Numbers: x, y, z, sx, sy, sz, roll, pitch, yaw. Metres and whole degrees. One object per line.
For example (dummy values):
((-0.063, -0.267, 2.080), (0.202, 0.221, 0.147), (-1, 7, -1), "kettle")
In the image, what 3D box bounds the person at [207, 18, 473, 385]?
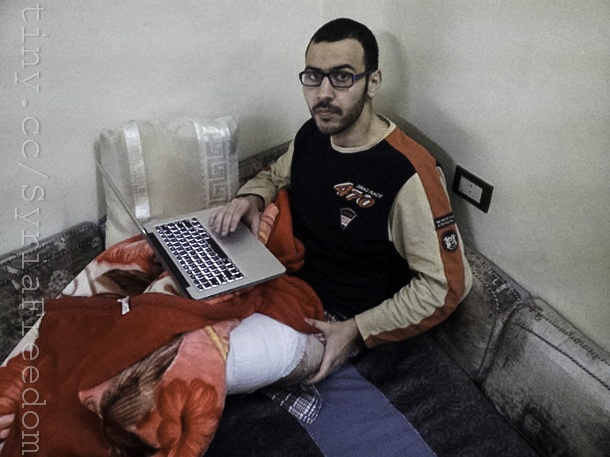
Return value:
((0.074, -0.172, 1.655), (0.639, 1.048, 0.975), (-19, 34, -37), "person")

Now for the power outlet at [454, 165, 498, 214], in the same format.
((0.597, -0.143, 1.594), (0.016, 0.102, 0.147), (-20, 48, -22), "power outlet")

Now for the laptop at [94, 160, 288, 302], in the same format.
((-0.358, 0.069, 1.514), (0.447, 0.382, 0.538), (-21, 52, -25), "laptop")
